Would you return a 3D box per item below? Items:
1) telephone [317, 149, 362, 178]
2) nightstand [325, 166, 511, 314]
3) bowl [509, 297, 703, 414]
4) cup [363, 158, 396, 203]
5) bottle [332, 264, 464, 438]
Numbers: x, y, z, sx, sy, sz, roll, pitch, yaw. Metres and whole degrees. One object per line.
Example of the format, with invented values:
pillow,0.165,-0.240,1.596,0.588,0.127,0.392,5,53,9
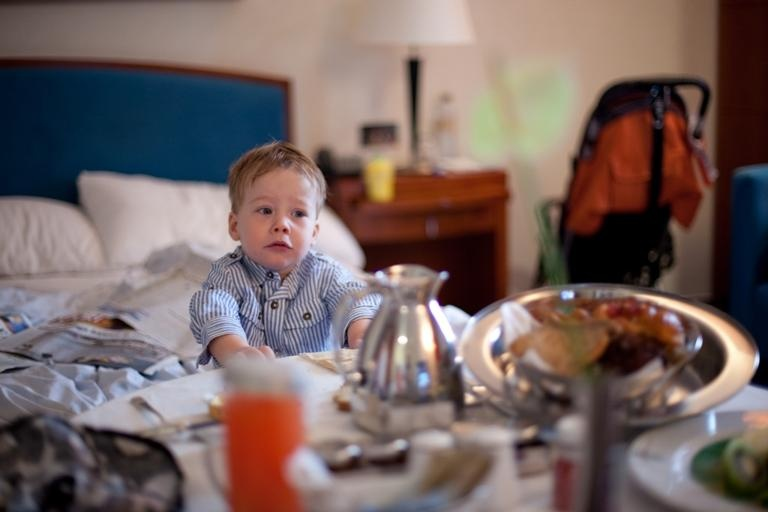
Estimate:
telephone,-0.148,-0.303,2.043,0.109,0.074,0.115,0,10,3
nightstand,0.097,-0.075,1.755,0.463,0.452,0.243,-1,5,-14
bowl,0.232,0.095,0.746,0.155,0.060,0.164,0,19,0
cup,-0.009,-0.235,1.943,0.117,0.134,0.123,0,3,0
bottle,0.003,0.113,0.786,0.189,0.195,0.175,-1,14,13
